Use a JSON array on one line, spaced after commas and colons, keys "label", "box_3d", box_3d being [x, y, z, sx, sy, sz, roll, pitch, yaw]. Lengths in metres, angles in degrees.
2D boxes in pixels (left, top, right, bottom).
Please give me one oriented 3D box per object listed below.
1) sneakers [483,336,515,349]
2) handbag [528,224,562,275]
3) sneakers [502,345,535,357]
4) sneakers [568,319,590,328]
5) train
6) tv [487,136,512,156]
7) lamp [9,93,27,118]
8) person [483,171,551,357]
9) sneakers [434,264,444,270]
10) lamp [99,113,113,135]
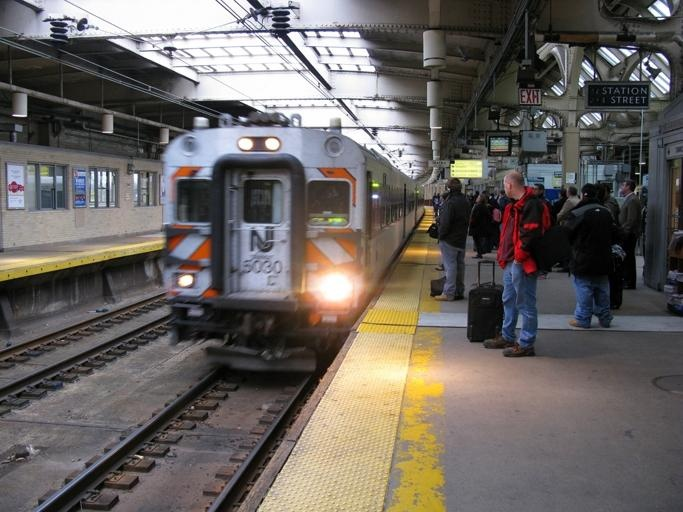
[{"label": "sneakers", "box_3d": [2.018, 1.126, 6.634, 0.450, 0.163, 0.141, 3, 2, 9]}, {"label": "handbag", "box_3d": [2.368, -0.054, 5.794, 0.515, 0.436, 0.127, -14, 15, -26]}, {"label": "sneakers", "box_3d": [2.195, 1.183, 6.316, 0.421, 0.160, 0.140, 1, 3, 2]}, {"label": "sneakers", "box_3d": [3.537, 1.021, 7.586, 0.121, 0.118, 0.311, -3, 7, -36]}, {"label": "train", "box_3d": [-0.780, -0.140, 7.549, 3.533, 3.535, 1.932, -4, 7, -19]}, {"label": "tv", "box_3d": [7.381, -5.151, 23.592, 1.129, 0.883, 0.532, 0, 5, 1]}, {"label": "lamp", "box_3d": [-10.227, -4.847, 16.029, 0.378, 0.725, 0.423, -6, 9, -35]}, {"label": "person", "box_3d": [2.154, 0.112, 6.145, 0.692, 2.289, 0.777, 0, 7, 9]}, {"label": "sneakers", "box_3d": [2.628, 0.294, 13.606, 0.139, 0.139, 0.356, 1, 5, -8]}, {"label": "lamp", "box_3d": [-9.053, -5.138, 19.491, 0.315, 0.615, 1.297, -5, 8, -29]}]
